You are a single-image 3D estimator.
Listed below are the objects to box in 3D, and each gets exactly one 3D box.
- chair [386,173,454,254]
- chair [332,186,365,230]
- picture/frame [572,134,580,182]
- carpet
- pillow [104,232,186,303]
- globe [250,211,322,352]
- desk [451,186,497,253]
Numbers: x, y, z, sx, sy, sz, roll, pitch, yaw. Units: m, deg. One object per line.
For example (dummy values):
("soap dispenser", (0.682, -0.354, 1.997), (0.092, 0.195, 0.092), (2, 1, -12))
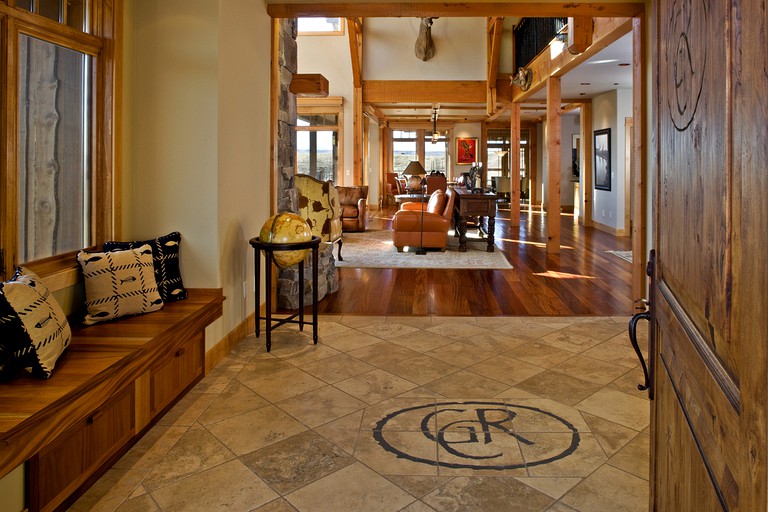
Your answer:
("chair", (0.780, -0.663, 9.106), (1.161, 0.979, 1.735), (2, 9, 3))
("chair", (-0.661, -1.040, 11.175), (0.695, 0.900, 0.832), (0, 4, -1))
("picture/frame", (6.278, -3.207, 16.476), (0.210, 1.354, 0.656), (3, 10, 19))
("carpet", (0.667, -0.103, 8.756), (2.773, 0.080, 3.125), (0, 11, 3))
("pillow", (-1.533, 0.069, 3.465), (0.484, 0.447, 0.328), (2, 10, -21))
("globe", (-0.793, 0.192, 4.278), (0.591, 1.047, 0.616), (6, 8, 43))
("desk", (1.710, -0.693, 9.349), (0.935, 1.079, 2.224), (1, 10, 1))
